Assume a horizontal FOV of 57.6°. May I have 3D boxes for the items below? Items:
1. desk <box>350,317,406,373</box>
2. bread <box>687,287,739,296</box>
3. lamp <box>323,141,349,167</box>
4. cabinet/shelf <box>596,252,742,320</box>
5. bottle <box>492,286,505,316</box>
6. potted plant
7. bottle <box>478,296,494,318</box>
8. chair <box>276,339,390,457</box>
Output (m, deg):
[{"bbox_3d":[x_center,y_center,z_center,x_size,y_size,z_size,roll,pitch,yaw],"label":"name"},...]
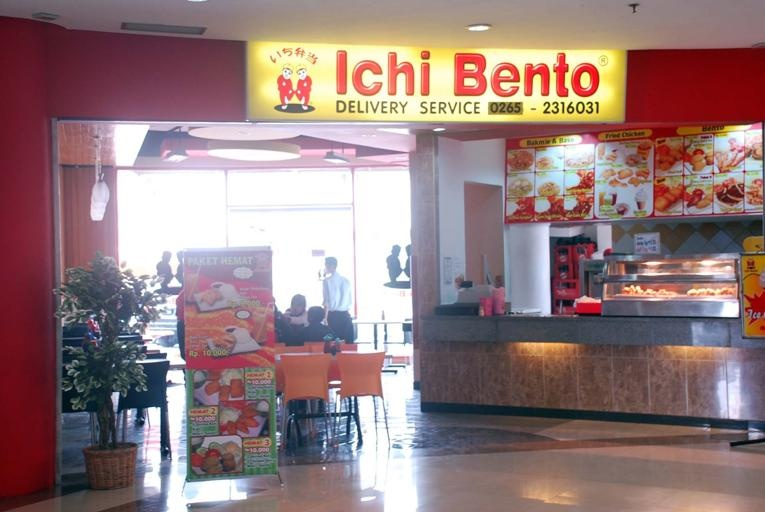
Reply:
[{"bbox_3d":[0.028,2.171,15.572,1.648,1.072,1.025,0,-5,-5],"label":"desk"},{"bbox_3d":[4.147,0.461,8.802,0.562,0.120,0.126,-1,1,30],"label":"bread"},{"bbox_3d":[-0.873,-1.892,13.235,0.350,0.416,0.633,-1,-3,16],"label":"lamp"},{"bbox_3d":[3.895,0.344,9.509,1.699,0.758,1.227,1,8,21],"label":"cabinet/shelf"},{"bbox_3d":[1.663,0.660,10.023,0.180,0.371,0.411,-1,1,9],"label":"bottle"},{"bbox_3d":[-3.131,1.206,7.909,0.991,1.645,1.696,-2,1,-25],"label":"potted plant"},{"bbox_3d":[1.463,0.713,9.860,0.226,0.250,0.128,-2,1,-7],"label":"bottle"},{"bbox_3d":[-0.635,1.657,8.780,1.582,1.387,1.168,-1,0,-2],"label":"chair"}]
